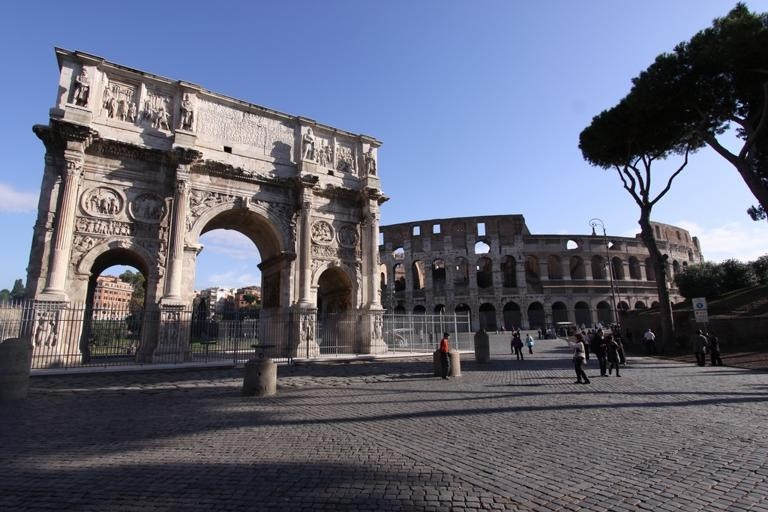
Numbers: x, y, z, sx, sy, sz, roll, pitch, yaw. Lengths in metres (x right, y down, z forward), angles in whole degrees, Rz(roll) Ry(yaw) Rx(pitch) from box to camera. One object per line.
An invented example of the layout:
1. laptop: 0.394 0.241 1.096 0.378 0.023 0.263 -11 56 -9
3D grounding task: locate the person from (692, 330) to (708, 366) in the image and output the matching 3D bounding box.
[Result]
1. person: 14.416 4.132 20.248 0.490 1.513 2.043 -3 -5 35

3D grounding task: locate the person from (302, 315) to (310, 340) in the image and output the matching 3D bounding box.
1. person: -4.377 4.017 25.098 0.755 1.449 0.296 0 -4 -10

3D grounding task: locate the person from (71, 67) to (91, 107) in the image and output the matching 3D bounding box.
1. person: -14.871 -8.237 21.780 0.695 2.105 0.506 3 -5 -38

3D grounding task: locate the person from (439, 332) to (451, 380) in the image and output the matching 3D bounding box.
1. person: 2.367 3.884 17.434 0.469 1.698 1.154 -1 -4 7

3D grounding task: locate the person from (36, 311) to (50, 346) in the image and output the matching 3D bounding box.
1. person: -14.629 3.132 19.062 0.561 1.527 0.229 3 -5 -38

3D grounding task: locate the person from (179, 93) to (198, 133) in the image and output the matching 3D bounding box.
1. person: -10.744 -7.799 24.218 0.811 2.202 0.629 2 -5 -34

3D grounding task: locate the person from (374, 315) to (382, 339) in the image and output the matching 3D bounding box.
1. person: -0.476 4.307 27.602 0.302 1.655 0.746 -4 -6 43

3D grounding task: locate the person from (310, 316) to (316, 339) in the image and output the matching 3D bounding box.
1. person: -4.071 4.031 25.348 0.192 1.344 0.576 -3 -5 29

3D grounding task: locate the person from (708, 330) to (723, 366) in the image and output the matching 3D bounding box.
1. person: 14.908 4.155 20.081 0.483 1.376 1.115 -4 -5 35
